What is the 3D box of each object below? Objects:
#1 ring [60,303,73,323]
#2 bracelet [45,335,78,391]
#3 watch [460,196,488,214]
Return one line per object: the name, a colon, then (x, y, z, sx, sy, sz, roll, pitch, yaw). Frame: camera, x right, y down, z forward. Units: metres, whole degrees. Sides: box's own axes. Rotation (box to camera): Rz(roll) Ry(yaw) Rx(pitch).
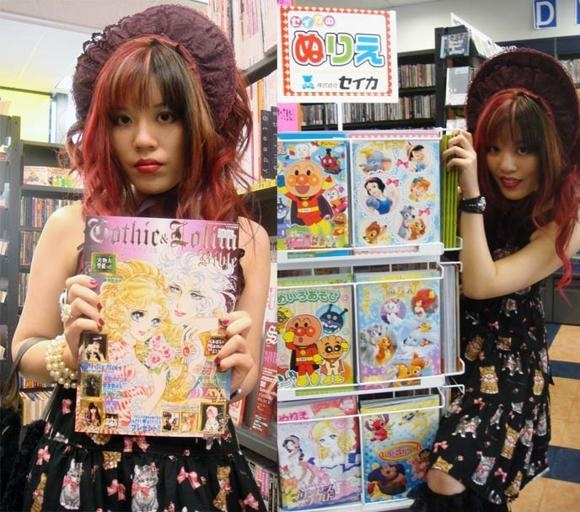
ring: (-0.427, 0.111, 0.958, 0.012, 0.038, 0.066, -1, 0, -31)
bracelet: (-0.460, 0.212, 1.034, 0.087, 0.104, 0.037, -10, -1, -2)
watch: (0.557, -0.152, 1.504, 0.065, 0.046, 0.071, 2, 7, 15)
